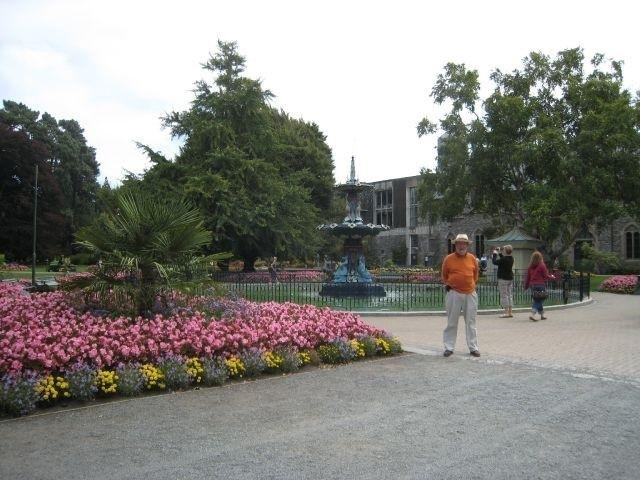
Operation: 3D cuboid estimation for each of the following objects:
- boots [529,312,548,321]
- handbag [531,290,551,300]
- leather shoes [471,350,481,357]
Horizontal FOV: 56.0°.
[{"bbox_3d":[5.966,2.085,16.438,0.556,0.259,0.182,-3,-3,-14],"label":"boots"},{"bbox_3d":[5.903,1.550,16.100,0.411,0.327,0.265,-1,-5,2],"label":"handbag"},{"bbox_3d":[2.818,2.024,10.837,0.195,0.104,0.233,0,1,7],"label":"leather shoes"}]
